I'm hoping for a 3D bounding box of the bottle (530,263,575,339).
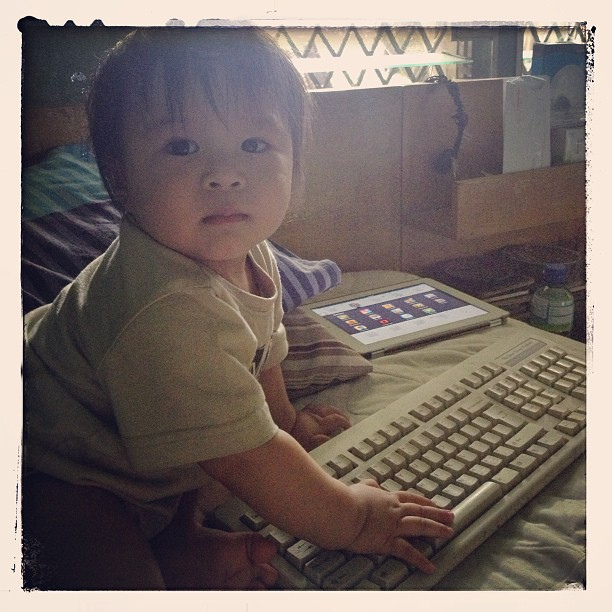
[{"bbox_3d":[0.399,-0.015,0.957,0.062,0.154,0.061,-7,37,5],"label":"bottle"}]

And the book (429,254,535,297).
[{"bbox_3d":[0.303,-0.070,1.135,0.247,0.061,0.157,-6,18,-17],"label":"book"}]
